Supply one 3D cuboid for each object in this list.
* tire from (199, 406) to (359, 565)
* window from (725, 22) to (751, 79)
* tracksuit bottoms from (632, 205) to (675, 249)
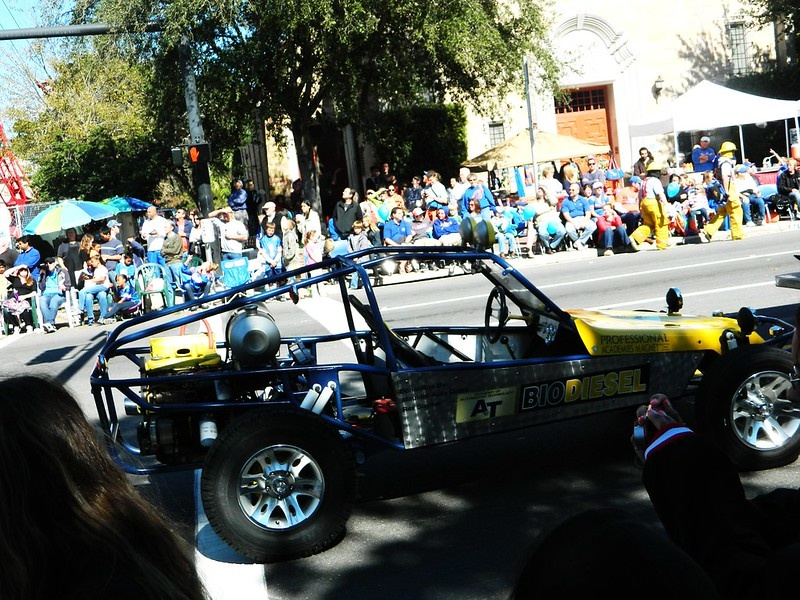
[{"bbox_3d":[-0.761,1.211,4.426,0.838,0.986,0.295,0,1,-8],"label":"tire"},{"bbox_3d":[15.964,-11.886,32.926,1.401,2.405,0.298,-8,9,-26],"label":"window"},{"bbox_3d":[6.211,-1.863,17.404,0.930,1.309,0.733,-1,5,40],"label":"tracksuit bottoms"}]
